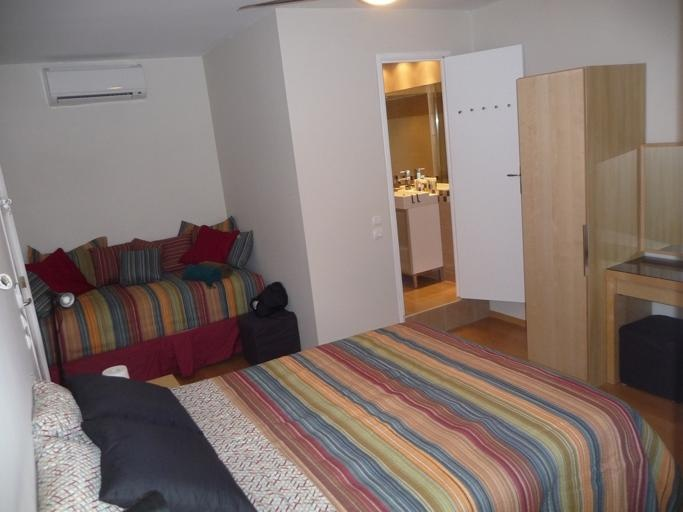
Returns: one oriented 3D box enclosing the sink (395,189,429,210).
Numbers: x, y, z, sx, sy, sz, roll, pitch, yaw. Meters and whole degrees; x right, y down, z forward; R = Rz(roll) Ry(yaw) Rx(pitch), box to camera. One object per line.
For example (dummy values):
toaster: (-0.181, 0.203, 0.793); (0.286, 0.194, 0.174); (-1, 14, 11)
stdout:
sink: (0.798, -0.649, 5.641); (0.283, 0.102, 0.300); (-15, 19, -38)

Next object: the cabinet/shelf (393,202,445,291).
cabinet/shelf: (0.820, -0.242, 5.941); (0.648, 0.942, 0.647); (2, 12, 44)

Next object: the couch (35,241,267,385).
couch: (-1.876, 0.461, 4.967); (1.825, 1.106, 1.052); (-12, 22, -37)

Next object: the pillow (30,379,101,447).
pillow: (-1.200, 0.660, 2.092); (0.160, 0.048, 0.451); (21, 3, -40)

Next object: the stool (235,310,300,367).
stool: (-0.669, 0.712, 4.766); (0.499, 0.516, 0.512); (2, 14, 17)
